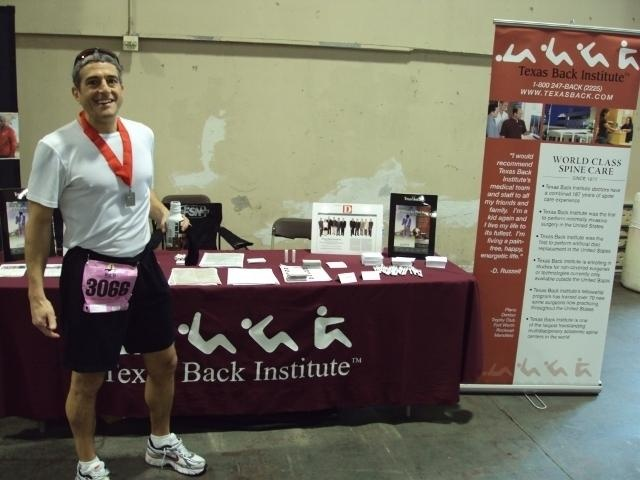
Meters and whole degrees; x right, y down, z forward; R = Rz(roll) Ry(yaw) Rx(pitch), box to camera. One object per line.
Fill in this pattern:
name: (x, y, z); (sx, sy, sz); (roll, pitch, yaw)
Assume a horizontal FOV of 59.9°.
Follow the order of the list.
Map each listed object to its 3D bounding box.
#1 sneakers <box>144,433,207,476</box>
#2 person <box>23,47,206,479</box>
sneakers: (-0.794, 1.196, 3.135); (0.325, 0.183, 0.169); (9, 0, 3)
person: (-1.050, 0.197, 2.793); (0.751, 2.244, 0.320); (-7, 12, -28)
